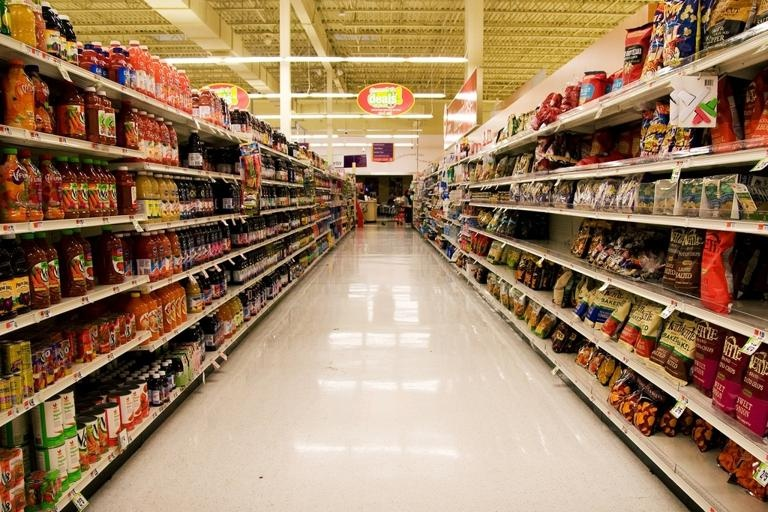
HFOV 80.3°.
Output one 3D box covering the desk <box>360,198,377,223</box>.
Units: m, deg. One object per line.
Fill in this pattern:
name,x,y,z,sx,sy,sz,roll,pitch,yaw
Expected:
desk,-0.839,-2.427,24.441,0.945,1.713,1.238,0,-86,2
